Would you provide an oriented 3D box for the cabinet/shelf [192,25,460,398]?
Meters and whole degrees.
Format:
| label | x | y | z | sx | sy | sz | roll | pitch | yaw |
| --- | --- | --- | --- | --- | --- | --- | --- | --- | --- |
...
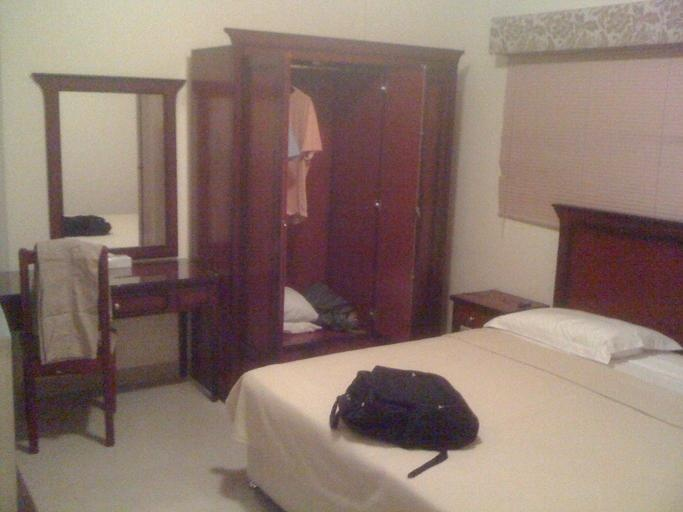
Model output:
| label | x | y | z | sx | sy | sz | roll | pitch | yaw |
| --- | --- | --- | --- | --- | --- | --- | --- | --- | --- |
| cabinet/shelf | 0.007 | -0.309 | 3.663 | 1.321 | 2.091 | 1.066 | -4 | 19 | -20 |

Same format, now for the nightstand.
| label | x | y | z | sx | sy | sz | roll | pitch | yaw |
| --- | --- | --- | --- | --- | --- | --- | --- | --- | --- |
| nightstand | 0.991 | 0.328 | 3.561 | 0.298 | 0.398 | 0.399 | -4 | 16 | -29 |

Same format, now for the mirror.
| label | x | y | z | sx | sy | sz | roll | pitch | yaw |
| --- | --- | --- | --- | --- | --- | --- | --- | --- | --- |
| mirror | -1.383 | -0.550 | 3.161 | 1.098 | 1.311 | 0.084 | -3 | 7 | -30 |

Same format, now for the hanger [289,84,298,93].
| label | x | y | z | sx | sy | sz | roll | pitch | yaw |
| --- | --- | --- | --- | --- | --- | --- | --- | --- | --- |
| hanger | -0.309 | -1.075 | 3.520 | 0.056 | 0.024 | 0.078 | -4 | -2 | 18 |

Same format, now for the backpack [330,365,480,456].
| label | x | y | z | sx | sy | sz | roll | pitch | yaw |
| --- | --- | --- | --- | --- | --- | --- | --- | --- | --- |
| backpack | 0.253 | 0.584 | 2.096 | 0.377 | 0.125 | 0.300 | 6 | 7 | 13 |
